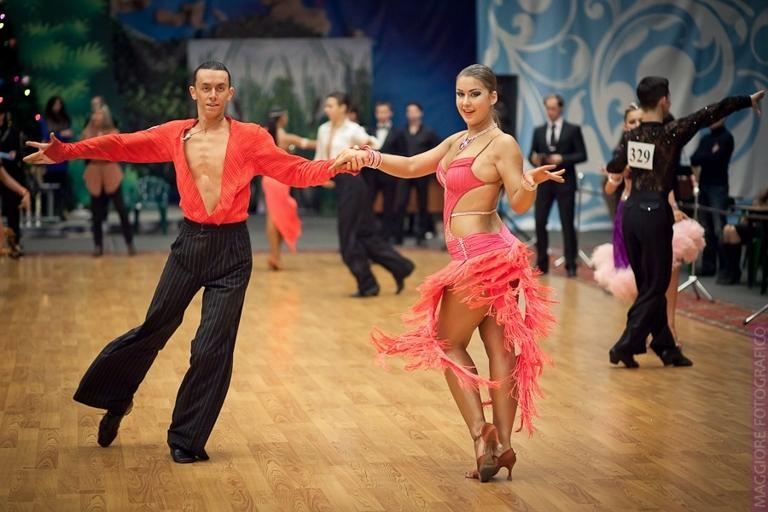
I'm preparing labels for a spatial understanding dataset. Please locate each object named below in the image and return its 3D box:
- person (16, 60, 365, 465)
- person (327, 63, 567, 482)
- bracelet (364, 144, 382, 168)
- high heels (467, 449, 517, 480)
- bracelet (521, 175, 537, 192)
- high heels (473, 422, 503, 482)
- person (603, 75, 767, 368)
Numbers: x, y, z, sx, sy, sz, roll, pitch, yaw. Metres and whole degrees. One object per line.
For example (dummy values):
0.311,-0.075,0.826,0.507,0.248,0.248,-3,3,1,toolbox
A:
-1.149,0.024,4.318,1.498,2.307,0.584,3,11,14,person
0.466,0.087,4.173,1.020,2.310,0.611,3,11,14,person
-0.063,-0.590,4.459,0.121,0.064,0.127,10,51,4,bracelet
0.611,1.179,4.102,0.365,0.190,0.125,-2,-5,3,high heels
0.780,-0.395,3.901,0.070,0.079,0.088,21,25,31,bracelet
0.575,1.084,4.032,0.116,0.359,0.149,-1,29,-8,high heels
2.182,-0.229,5.747,0.844,2.313,0.397,3,11,16,person
